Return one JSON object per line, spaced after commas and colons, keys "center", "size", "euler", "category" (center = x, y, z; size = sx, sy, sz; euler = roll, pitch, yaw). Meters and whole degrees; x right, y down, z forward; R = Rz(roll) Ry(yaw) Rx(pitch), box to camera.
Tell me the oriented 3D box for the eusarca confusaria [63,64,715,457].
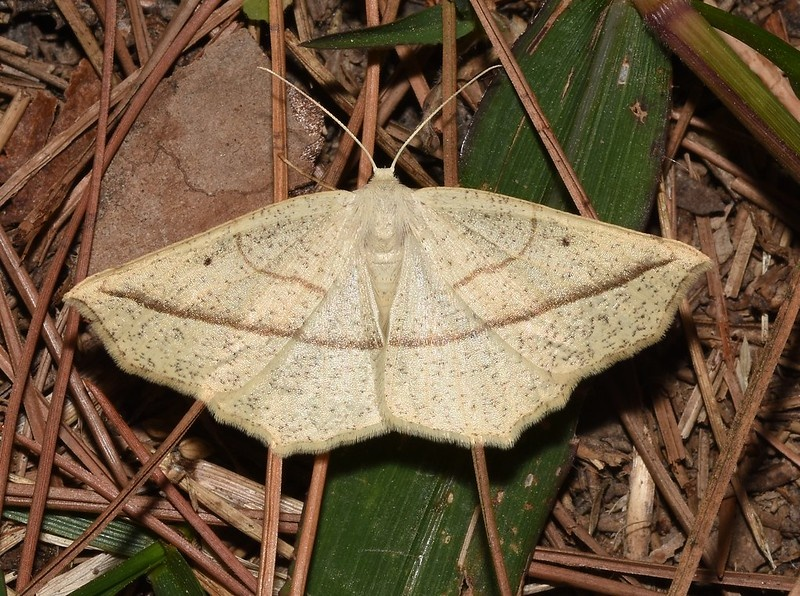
{"center": [-0.043, 0.026, 3.148], "size": [2.033, 0.728, 0.792], "euler": [3, 47, -2], "category": "eusarca confusaria"}
